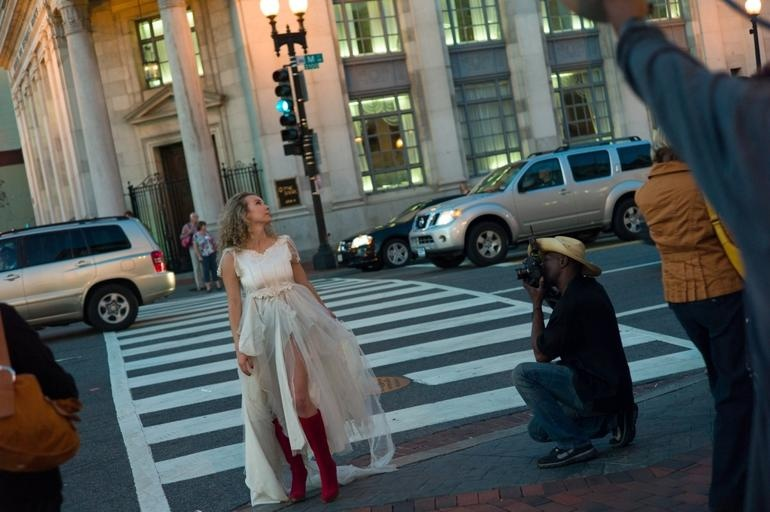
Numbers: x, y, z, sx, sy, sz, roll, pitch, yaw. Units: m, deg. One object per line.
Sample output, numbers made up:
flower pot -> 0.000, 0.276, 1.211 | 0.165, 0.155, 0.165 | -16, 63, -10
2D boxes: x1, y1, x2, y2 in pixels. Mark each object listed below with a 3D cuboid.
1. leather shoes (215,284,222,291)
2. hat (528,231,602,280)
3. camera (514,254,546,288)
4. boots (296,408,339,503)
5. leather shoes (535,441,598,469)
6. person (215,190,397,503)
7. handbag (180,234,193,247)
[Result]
leather shoes -> -4.782, 0.903, 20.287 | 0.169, 0.230, 0.568 | 0, -1, -9
hat -> 1.304, -0.030, 5.008 | 0.344, 0.110, 0.317 | 22, -6, 3
camera -> 1.068, 0.106, 5.144 | 0.215, 0.222, 0.221 | 1, 3, 0
boots -> -0.477, 1.460, 5.168 | 0.215, 0.616, 0.283 | -8, 6, -7
leather shoes -> 1.286, 1.430, 5.106 | 0.470, 0.200, 0.163 | -5, -1, -6
person -> -0.659, 0.630, 5.391 | 1.068, 2.292, 0.867 | -9, 6, -14
handbag -> -5.769, -0.426, 20.610 | 0.268, 0.387, 0.391 | -4, -8, -5
